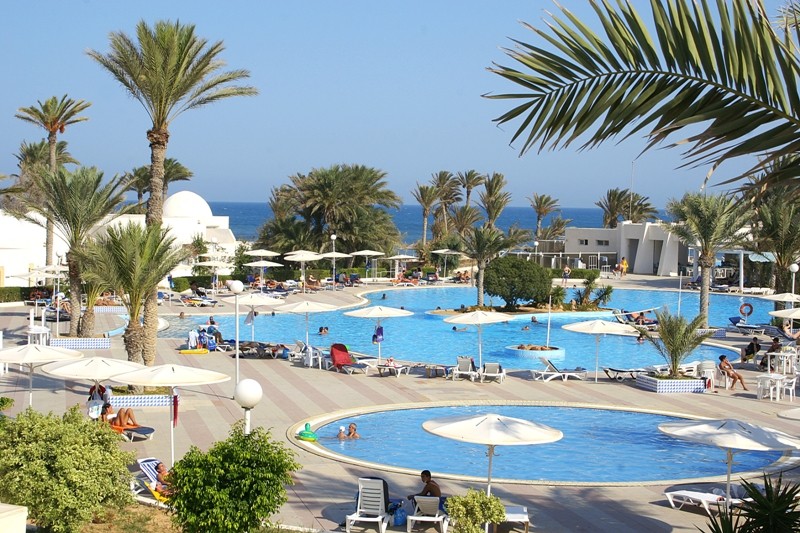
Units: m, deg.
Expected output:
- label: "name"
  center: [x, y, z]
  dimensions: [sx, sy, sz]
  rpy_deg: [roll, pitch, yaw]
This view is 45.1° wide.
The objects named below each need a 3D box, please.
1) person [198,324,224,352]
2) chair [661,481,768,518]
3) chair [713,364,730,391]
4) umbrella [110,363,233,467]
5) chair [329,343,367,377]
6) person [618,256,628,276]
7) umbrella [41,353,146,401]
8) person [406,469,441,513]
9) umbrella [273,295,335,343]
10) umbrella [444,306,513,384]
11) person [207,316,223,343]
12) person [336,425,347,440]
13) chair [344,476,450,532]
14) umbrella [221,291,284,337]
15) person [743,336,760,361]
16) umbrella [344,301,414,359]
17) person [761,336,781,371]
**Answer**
- label: "person"
  center: [-6.769, 2.569, 34.639]
  dimensions: [0.844, 0.852, 1.232]
  rpy_deg: [1, -2, 10]
- label: "chair"
  center: [6.728, 4.902, 20.581]
  dimensions: [1.872, 0.616, 1.067]
  rpy_deg: [-5, 4, -21]
- label: "chair"
  center: [10.039, 3.447, 29.961]
  dimensions: [0.439, 0.687, 1.234]
  rpy_deg: [0, -2, 18]
- label: "umbrella"
  center: [-5.547, 3.725, 23.782]
  dimensions: [2.335, 2.669, 2.379]
  rpy_deg: [0, -2, 8]
- label: "chair"
  center: [-1.759, 3.107, 31.863]
  dimensions: [1.072, 0.740, 0.826]
  rpy_deg: [6, 1, -6]
- label: "person"
  center: [16.488, 0.052, 71.225]
  dimensions: [0.544, 1.221, 2.198]
  rpy_deg: [1, -2, 10]
- label: "umbrella"
  center: [-7.396, 2.510, 24.170]
  dimensions: [1.835, 0.673, 1.834]
  rpy_deg: [1, 3, 9]
- label: "person"
  center: [0.574, 4.776, 20.180]
  dimensions: [0.675, 1.091, 0.470]
  rpy_deg: [2, 15, 17]
- label: "umbrella"
  center: [-3.322, 1.976, 34.068]
  dimensions: [2.032, 1.437, 2.142]
  rpy_deg: [4, -1, 17]
- label: "umbrella"
  center: [2.612, 2.475, 31.755]
  dimensions: [1.471, 1.683, 1.371]
  rpy_deg: [14, -14, -34]
- label: "person"
  center: [-6.804, 2.589, 35.605]
  dimensions: [0.631, 1.420, 0.360]
  rpy_deg: [0, 5, 6]
- label: "person"
  center: [-1.499, 4.256, 24.877]
  dimensions: [0.290, 0.328, 0.911]
  rpy_deg: [1, -2, -4]
- label: "chair"
  center: [0.047, 4.811, 19.893]
  dimensions: [0.827, 1.231, 2.621]
  rpy_deg: [-2, 3, 30]
- label: "umbrella"
  center: [-6.309, 2.173, 41.291]
  dimensions: [1.803, 1.639, 1.913]
  rpy_deg: [-4, 7, -21]
- label: "person"
  center: [12.212, 2.881, 33.413]
  dimensions: [0.474, 0.900, 1.181]
  rpy_deg: [1, -2, 4]
- label: "umbrella"
  center: [-0.678, 2.426, 33.445]
  dimensions: [2.140, 1.895, 2.214]
  rpy_deg: [2, -1, -19]
- label: "person"
  center: [12.609, 3.004, 32.666]
  dimensions: [0.606, 1.452, 0.502]
  rpy_deg: [-2, 23, 0]
